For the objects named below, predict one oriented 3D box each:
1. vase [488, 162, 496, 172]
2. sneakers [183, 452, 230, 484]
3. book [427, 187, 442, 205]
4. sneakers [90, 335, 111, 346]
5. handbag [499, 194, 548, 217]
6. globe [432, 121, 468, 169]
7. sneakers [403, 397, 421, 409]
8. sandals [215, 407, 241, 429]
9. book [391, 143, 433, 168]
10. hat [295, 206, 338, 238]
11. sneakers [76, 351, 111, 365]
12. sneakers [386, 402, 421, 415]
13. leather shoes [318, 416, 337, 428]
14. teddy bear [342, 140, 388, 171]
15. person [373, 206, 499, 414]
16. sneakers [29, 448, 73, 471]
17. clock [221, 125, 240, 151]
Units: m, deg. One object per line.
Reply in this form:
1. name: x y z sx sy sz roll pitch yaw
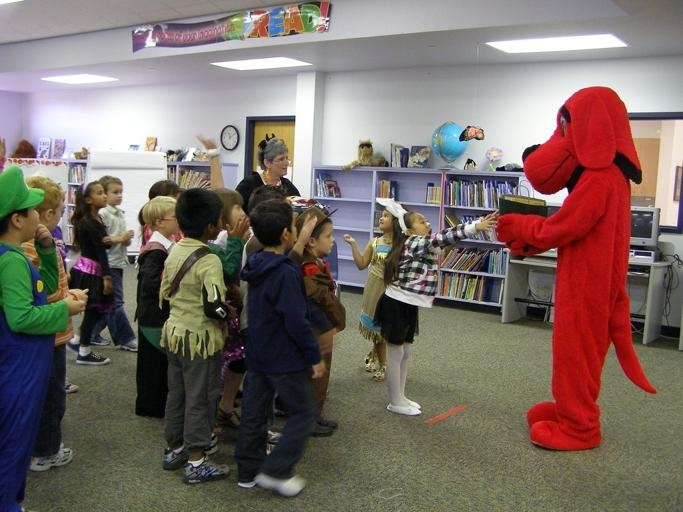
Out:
1. vase: 1.925 -1.146 6.158 0.095 0.121 0.289 5 9 15
2. sneakers: -0.673 1.059 2.431 0.271 0.130 0.093 -1 3 -26
3. book: 1.218 -0.819 6.390 0.266 0.252 0.198 4 11 23
4. sneakers: -2.127 0.744 4.276 0.177 0.073 0.069 2 8 -17
5. handbag: 1.170 -0.331 3.113 0.194 0.051 0.198 6 18 14
6. globe: 1.374 -1.439 6.239 0.523 0.567 0.479 -18 22 -21
7. sneakers: 0.469 0.992 3.264 0.134 0.037 0.054 7 10 41
8. sandals: -0.639 0.984 2.923 0.236 0.094 0.085 3 9 12
9. book: 0.931 -1.368 6.590 0.521 0.311 0.277 8 10 32
10. hat: -0.108 -0.210 2.674 0.219 0.080 0.190 -47 26 -18
11. sneakers: -1.939 0.808 3.811 0.291 0.113 0.106 2 2 -7
12. sneakers: 0.406 1.006 3.179 0.157 0.056 0.087 -2 1 8
13. leather shoes: -0.099 1.017 2.965 0.132 0.050 0.046 2 6 32
14. teddy bear: 0.385 -1.385 6.757 0.427 0.284 0.530 -2 1 11
15. person: 0.511 0.356 3.137 0.576 1.381 0.436 3 8 4
16. sneakers: -1.462 1.036 2.433 0.062 0.079 0.170 11 13 38
17. clock: -1.917 -2.053 8.345 0.452 0.449 0.065 2 3 41
